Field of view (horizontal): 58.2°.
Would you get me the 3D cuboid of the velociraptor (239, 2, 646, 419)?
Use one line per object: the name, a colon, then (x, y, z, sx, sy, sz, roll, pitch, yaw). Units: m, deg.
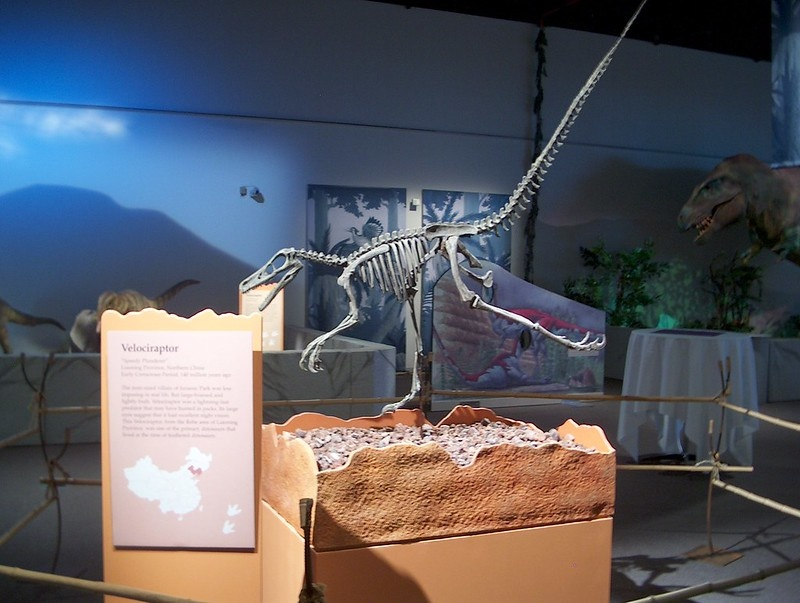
velociraptor: (0.141, -0.330, 3.972, 1.908, 1.927, 0.775, -1, 3, -2)

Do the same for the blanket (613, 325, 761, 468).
blanket: (2.094, 0.619, 5.519, 0.996, 1.149, 0.999, 2, 2, -10)
